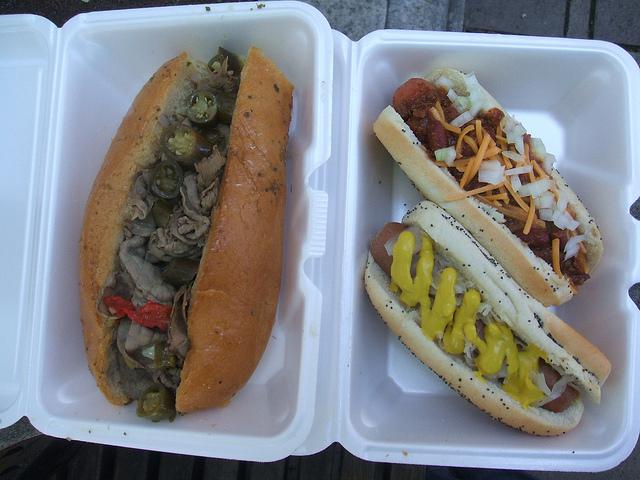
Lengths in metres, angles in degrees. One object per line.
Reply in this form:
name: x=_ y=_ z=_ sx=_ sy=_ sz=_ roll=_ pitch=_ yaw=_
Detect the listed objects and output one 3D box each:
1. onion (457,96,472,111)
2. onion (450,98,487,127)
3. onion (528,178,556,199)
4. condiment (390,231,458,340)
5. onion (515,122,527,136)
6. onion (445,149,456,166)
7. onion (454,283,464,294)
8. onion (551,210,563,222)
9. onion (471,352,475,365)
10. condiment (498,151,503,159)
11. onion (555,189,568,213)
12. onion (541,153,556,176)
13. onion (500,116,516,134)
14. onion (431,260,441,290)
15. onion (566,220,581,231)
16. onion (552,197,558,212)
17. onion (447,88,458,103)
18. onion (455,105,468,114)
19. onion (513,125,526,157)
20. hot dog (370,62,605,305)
onion: x=0.918 y=-0.874 z=4.033 sx=0.079 sy=0.025 sz=0.098 roll=20 pitch=64 yaw=-1
onion: x=0.938 y=-0.799 z=3.954 sx=0.265 sy=0.027 sz=0.071 roll=-40 pitch=86 yaw=-2
onion: x=1.376 y=-0.337 z=3.912 sx=0.166 sy=0.046 sz=0.093 roll=-38 pitch=89 yaw=13
condiment: x=0.659 y=0.256 z=3.957 sx=0.371 sy=0.155 sz=0.655 roll=-33 pitch=85 yaw=-1
onion: x=1.277 y=-0.713 z=3.980 sx=0.065 sy=0.024 sz=0.071 roll=-24 pitch=80 yaw=-33
onion: x=0.817 y=-0.527 z=3.944 sx=0.065 sy=0.042 sz=0.101 roll=21 pitch=86 yaw=3
onion: x=0.864 y=0.308 z=3.947 sx=0.062 sy=0.018 sz=0.068 roll=4 pitch=77 yaw=-19
onion: x=1.463 y=-0.155 z=3.905 sx=0.047 sy=0.013 sz=0.076 roll=39 pitch=87 yaw=4
onion: x=0.955 y=0.746 z=3.929 sx=0.035 sy=0.013 sz=0.057 roll=-1 pitch=86 yaw=-19
condiment: x=1.117 y=-0.534 z=3.902 sx=0.029 sy=0.013 sz=0.047 roll=-8 pitch=86 yaw=0
onion: x=1.515 y=-0.244 z=3.936 sx=0.089 sy=0.030 sz=0.130 roll=5 pitch=81 yaw=-8
onion: x=1.457 y=-0.492 z=4.022 sx=0.088 sy=0.033 sz=0.136 roll=2 pitch=97 yaw=7
onion: x=1.177 y=-0.731 z=3.959 sx=0.072 sy=0.042 sz=0.111 roll=-2 pitch=82 yaw=1
onion: x=0.736 y=0.229 z=3.988 sx=0.079 sy=0.028 sz=0.155 roll=6 pitch=78 yaw=-7
onion: x=1.579 y=-0.094 z=3.926 sx=0.057 sy=0.016 sz=0.059 roll=-41 pitch=88 yaw=7
onion: x=1.460 y=-0.219 z=3.919 sx=0.012 sy=0.042 sz=0.065 roll=-5 pitch=72 yaw=37
onion: x=0.843 y=-0.935 z=4.027 sx=0.068 sy=0.106 sz=0.076 roll=20 pitch=113 yaw=13
onion: x=0.899 y=-0.839 z=3.996 sx=0.061 sy=0.018 sz=0.062 roll=14 pitch=97 yaw=24
onion: x=1.241 y=-0.623 z=3.909 sx=0.043 sy=0.049 sz=0.185 roll=-3 pitch=84 yaw=-4
hot dog: x=1.071 y=-0.440 z=4.355 sx=0.930 sy=0.690 sz=2.085 roll=-37 pitch=90 yaw=-1
